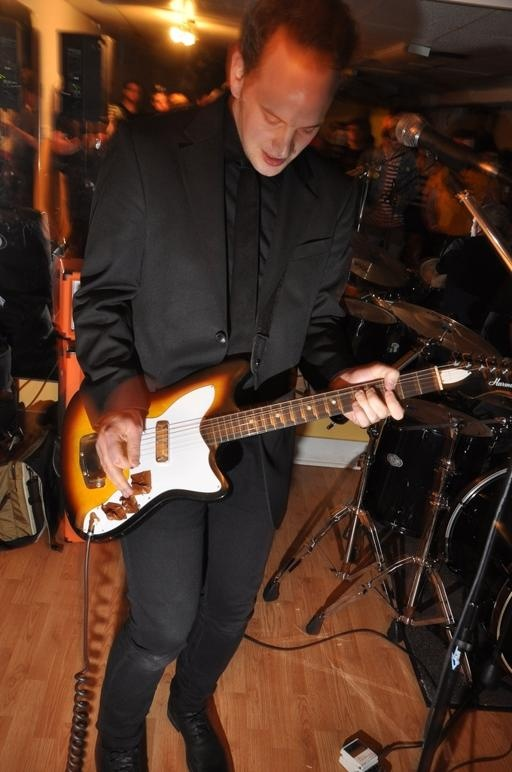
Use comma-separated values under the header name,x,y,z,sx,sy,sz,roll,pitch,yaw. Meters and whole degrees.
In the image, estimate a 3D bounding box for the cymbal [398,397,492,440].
name,x,y,z,sx,sy,sz,roll,pitch,yaw
cymbal,0.686,0.111,2.141,0.150,0.061,0.253,0,22,-42

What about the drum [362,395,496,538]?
name,x,y,z,sx,sy,sz,roll,pitch,yaw
drum,0.736,0.406,2.681,0.407,0.431,0.385,20,5,18

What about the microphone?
name,x,y,z,sx,sy,sz,roll,pitch,yaw
microphone,0.326,-0.457,1.096,0.073,0.080,0.301,11,20,-36
